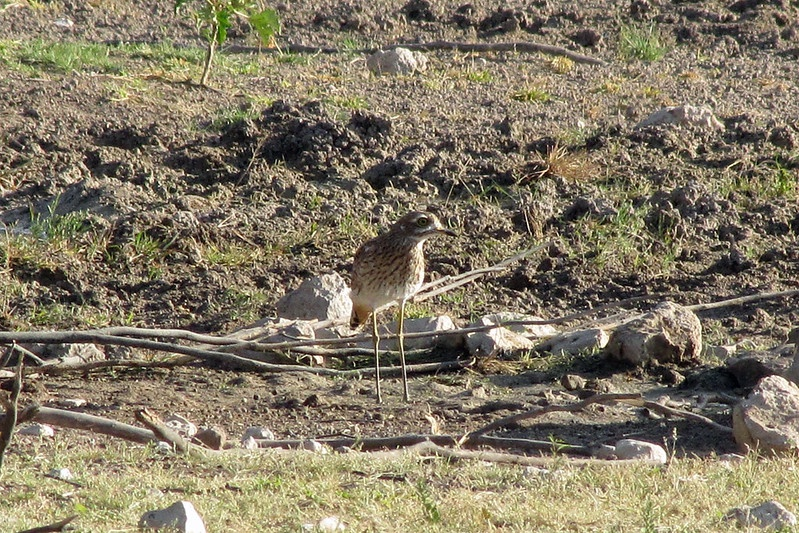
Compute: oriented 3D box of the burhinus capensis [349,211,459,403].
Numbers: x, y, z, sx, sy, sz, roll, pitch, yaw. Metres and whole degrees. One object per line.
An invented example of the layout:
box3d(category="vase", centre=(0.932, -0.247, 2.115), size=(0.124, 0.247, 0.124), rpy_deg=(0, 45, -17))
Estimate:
box3d(category="burhinus capensis", centre=(-0.072, 0.351, 14.225), size=(0.842, 1.832, 0.901), rpy_deg=(7, 6, -2))
